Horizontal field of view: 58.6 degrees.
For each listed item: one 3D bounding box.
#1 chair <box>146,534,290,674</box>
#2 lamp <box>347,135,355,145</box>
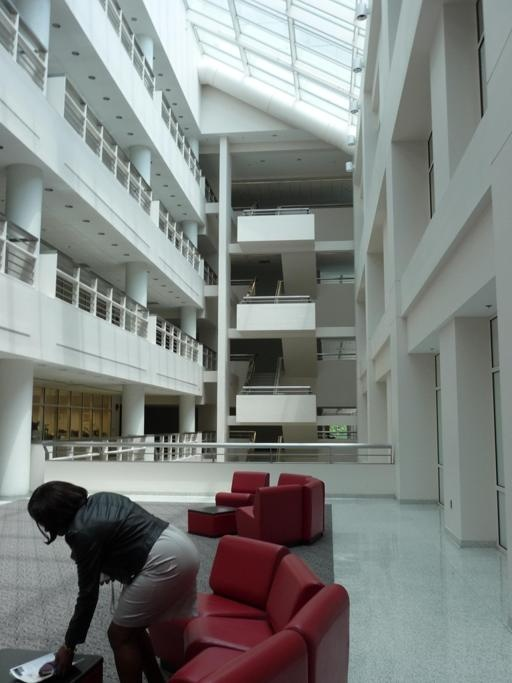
[{"bbox_3d":[-0.241,1.436,2.609,0.605,0.765,0.614,17,-15,-33],"label":"chair"},{"bbox_3d":[4.414,-9.262,21.167,0.275,0.395,0.307,5,-11,-12],"label":"lamp"}]
